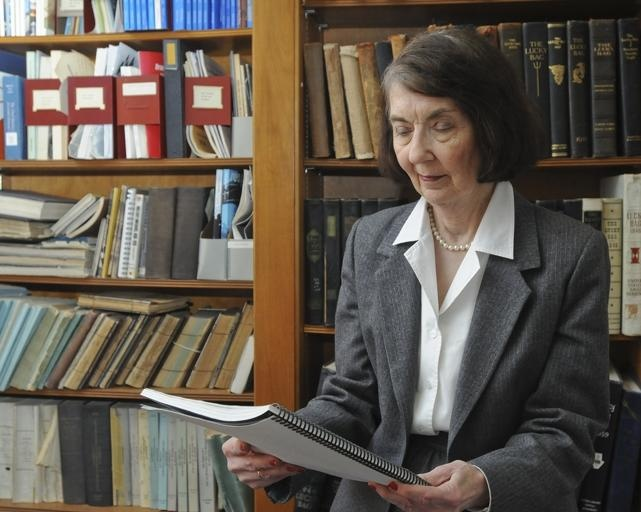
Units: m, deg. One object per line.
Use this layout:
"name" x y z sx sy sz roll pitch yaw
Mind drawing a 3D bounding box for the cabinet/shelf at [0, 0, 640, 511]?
"cabinet/shelf" 0.003 0.015 2.591 2.467 1.914 0.653 0 2 8
